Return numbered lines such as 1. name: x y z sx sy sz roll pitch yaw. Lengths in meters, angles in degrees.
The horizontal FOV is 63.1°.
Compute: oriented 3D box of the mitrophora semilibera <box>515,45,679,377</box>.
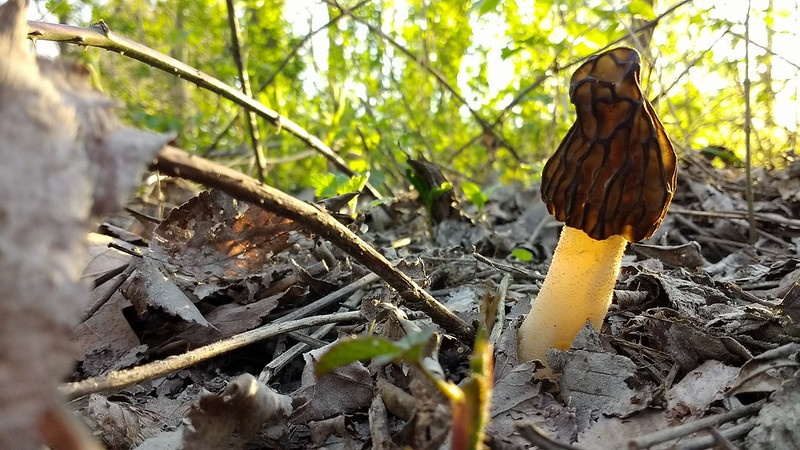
1. mitrophora semilibera: 0.771 -0.051 2.668 0.558 1.295 0.288 23 -3 1
